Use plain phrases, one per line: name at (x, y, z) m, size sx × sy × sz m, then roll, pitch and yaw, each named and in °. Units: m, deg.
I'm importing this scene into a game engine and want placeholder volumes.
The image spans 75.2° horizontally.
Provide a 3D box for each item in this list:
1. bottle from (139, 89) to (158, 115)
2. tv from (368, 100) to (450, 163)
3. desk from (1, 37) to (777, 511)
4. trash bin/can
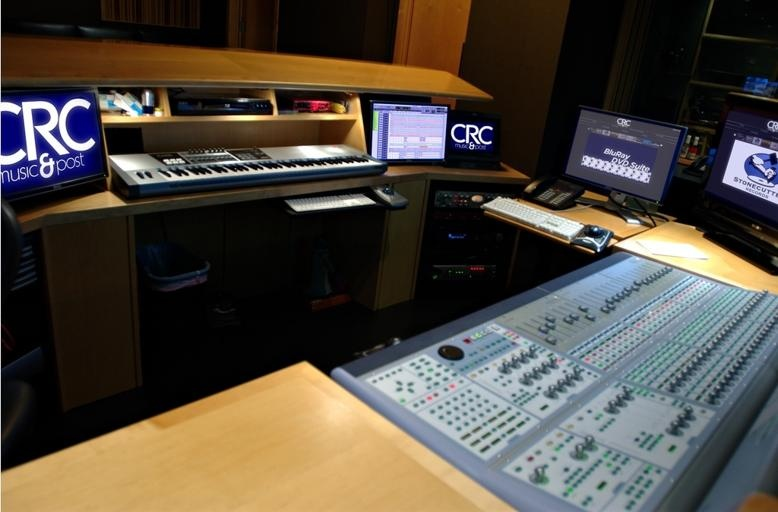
bottle at (-1.368, -0.884, 2.893) m, size 0.050 × 0.135 × 0.101 m, roll -9°, pitch 53°, yaw -36°
tv at (0.129, -0.925, 3.753) m, size 0.632 × 0.392 × 0.045 m, roll 1°, pitch 12°, yaw -17°
desk at (-0.121, 0.012, 2.568) m, size 2.053 × 0.862 × 2.114 m, roll -25°, pitch 49°, yaw -39°
trash bin/can at (-1.332, 0.196, 3.210) m, size 0.419 × 0.484 × 0.740 m, roll -14°, pitch 31°, yaw -36°
